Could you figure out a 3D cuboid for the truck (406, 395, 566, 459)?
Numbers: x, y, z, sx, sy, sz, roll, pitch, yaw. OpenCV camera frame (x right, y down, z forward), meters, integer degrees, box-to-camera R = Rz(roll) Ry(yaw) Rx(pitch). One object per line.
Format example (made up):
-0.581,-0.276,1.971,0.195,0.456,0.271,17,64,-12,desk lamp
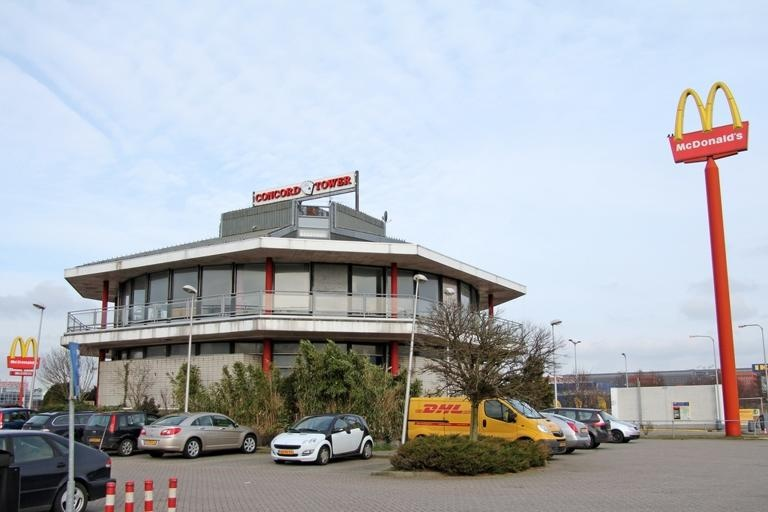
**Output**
3.863,6.813,27.280,5.833,2.046,3.142,-8,-14,25,truck

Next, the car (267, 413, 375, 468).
-2.372,6.986,25.115,3.688,1.823,1.391,13,-21,-43,car
